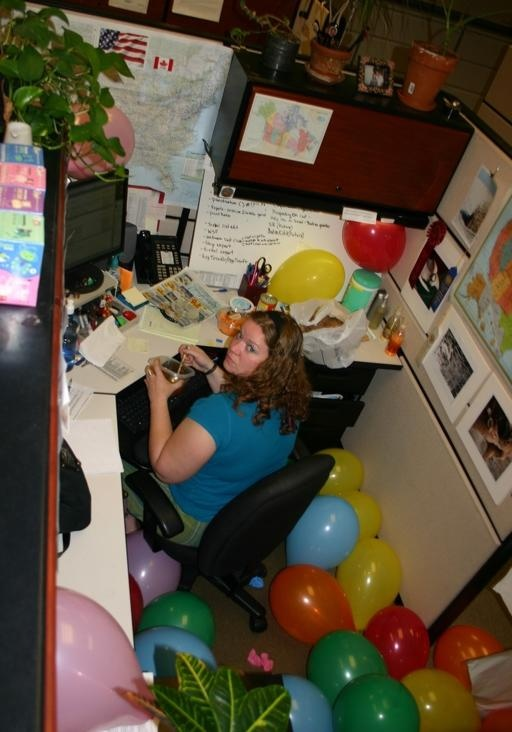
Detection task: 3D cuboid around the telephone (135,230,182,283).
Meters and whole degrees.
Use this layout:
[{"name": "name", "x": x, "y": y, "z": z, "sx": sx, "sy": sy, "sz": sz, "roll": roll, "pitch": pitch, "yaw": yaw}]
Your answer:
[{"name": "telephone", "x": -0.463, "y": -0.511, "z": 2.445, "sx": 0.196, "sy": 0.104, "sz": 0.267, "roll": -7, "pitch": 79, "yaw": -19}]

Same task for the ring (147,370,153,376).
[{"name": "ring", "x": -0.393, "y": 0.028, "z": 1.899, "sx": 0.007, "sy": 0.017, "sz": 0.023, "roll": 12, "pitch": 79, "yaw": -50}]

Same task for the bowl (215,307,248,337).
[{"name": "bowl", "x": -0.118, "y": -0.190, "z": 2.329, "sx": 0.121, "sy": 0.083, "sz": 0.124, "roll": 13, "pitch": 40, "yaw": -11}]

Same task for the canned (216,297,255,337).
[{"name": "canned", "x": -0.101, "y": -0.223, "z": 2.360, "sx": 0.177, "sy": 0.130, "sz": 0.158, "roll": -15, "pitch": 56, "yaw": -42}]

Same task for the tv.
[{"name": "tv", "x": -0.626, "y": -0.531, "z": 2.033, "sx": 0.124, "sy": 0.478, "sz": 0.379, "roll": 20, "pitch": 37, "yaw": 1}]

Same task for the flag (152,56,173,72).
[{"name": "flag", "x": -0.355, "y": -1.140, "z": 1.935, "sx": 0.076, "sy": 0.055, "sz": 0.004, "roll": -5, "pitch": 57, "yaw": -19}]

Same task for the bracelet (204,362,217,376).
[{"name": "bracelet", "x": -0.179, "y": 0.016, "z": 2.048, "sx": 0.014, "sy": 0.047, "sz": 0.050, "roll": 56, "pitch": 6, "yaw": 12}]

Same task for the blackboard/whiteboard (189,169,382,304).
[{"name": "blackboard/whiteboard", "x": 0.118, "y": -0.576, "z": 2.270, "sx": 0.689, "sy": 0.494, "sz": 0.034, "roll": 3, "pitch": 39, "yaw": -12}]

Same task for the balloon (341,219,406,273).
[{"name": "balloon", "x": 0.560, "y": -0.583, "z": 2.435, "sx": 0.255, "sy": 0.299, "sz": 0.256, "roll": 1, "pitch": 4, "yaw": 9}]

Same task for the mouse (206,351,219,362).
[{"name": "mouse", "x": -0.200, "y": -0.033, "z": 2.294, "sx": 0.048, "sy": 0.048, "sz": 0.035, "roll": 23, "pitch": 50, "yaw": -2}]

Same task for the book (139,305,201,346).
[{"name": "book", "x": -0.394, "y": -0.156, "z": 2.258, "sx": 0.173, "sy": 0.036, "sz": 0.178, "roll": 22, "pitch": 44, "yaw": -7}]

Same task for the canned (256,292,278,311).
[{"name": "canned", "x": 0.050, "y": -0.295, "z": 2.372, "sx": 0.082, "sy": 0.091, "sz": 0.083, "roll": 22, "pitch": 49, "yaw": -1}]

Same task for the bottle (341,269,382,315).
[{"name": "bottle", "x": 0.507, "y": -0.352, "z": 2.476, "sx": 0.135, "sy": 0.216, "sz": 0.132, "roll": 11, "pitch": 41, "yaw": -9}]

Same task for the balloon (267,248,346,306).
[{"name": "balloon", "x": 0.258, "y": -0.433, "z": 2.503, "sx": 0.345, "sy": 0.260, "sz": 0.266, "roll": -7, "pitch": 84, "yaw": 3}]
